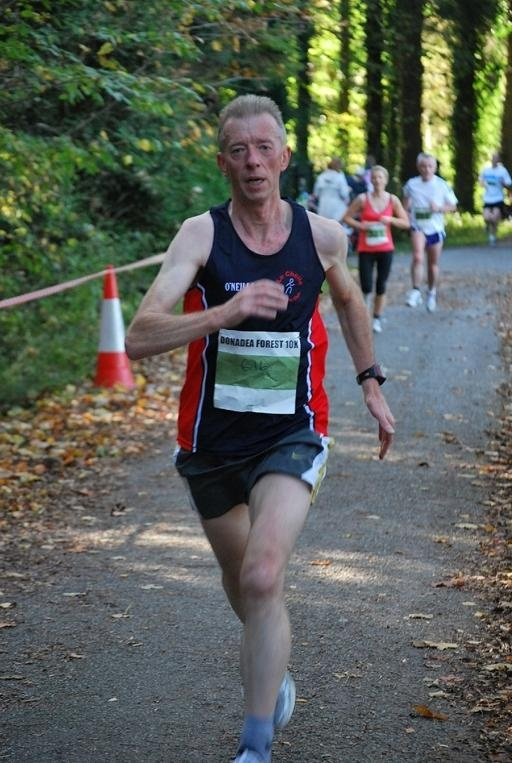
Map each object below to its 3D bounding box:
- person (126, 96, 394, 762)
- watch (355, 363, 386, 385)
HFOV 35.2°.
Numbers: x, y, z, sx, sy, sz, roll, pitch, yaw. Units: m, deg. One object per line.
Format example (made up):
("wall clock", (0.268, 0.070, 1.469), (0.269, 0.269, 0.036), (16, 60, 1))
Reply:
("person", (-0.002, 0.019, 2.255), (0.505, 1.611, 1.035), (3, 9, 28))
("watch", (0.378, -0.017, 2.609), (0.088, 0.059, 0.092), (-4, -12, -7))
